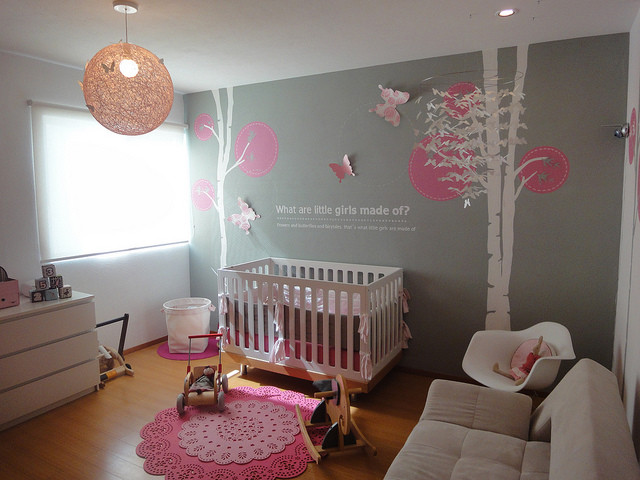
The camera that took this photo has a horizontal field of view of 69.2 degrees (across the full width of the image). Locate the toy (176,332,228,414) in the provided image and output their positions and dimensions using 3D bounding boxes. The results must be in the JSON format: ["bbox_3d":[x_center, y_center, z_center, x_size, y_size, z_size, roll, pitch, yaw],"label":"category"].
[{"bbox_3d":[-0.980,1.114,3.933,0.392,0.546,0.563,-2,0,-13],"label":"toy"}]

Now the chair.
[{"bbox_3d":[1.466,0.883,3.450,0.638,0.511,0.708,0,8,-17],"label":"chair"}]

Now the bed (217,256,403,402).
[{"bbox_3d":[0.117,0.466,4.338,1.451,0.951,1.082,3,5,30],"label":"bed"}]

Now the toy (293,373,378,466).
[{"bbox_3d":[0.085,1.284,3.475,0.378,0.510,0.725,-1,2,-13],"label":"toy"}]

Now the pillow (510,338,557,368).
[{"bbox_3d":[1.680,0.856,3.550,0.066,0.280,0.281,37,-12,13],"label":"pillow"}]
